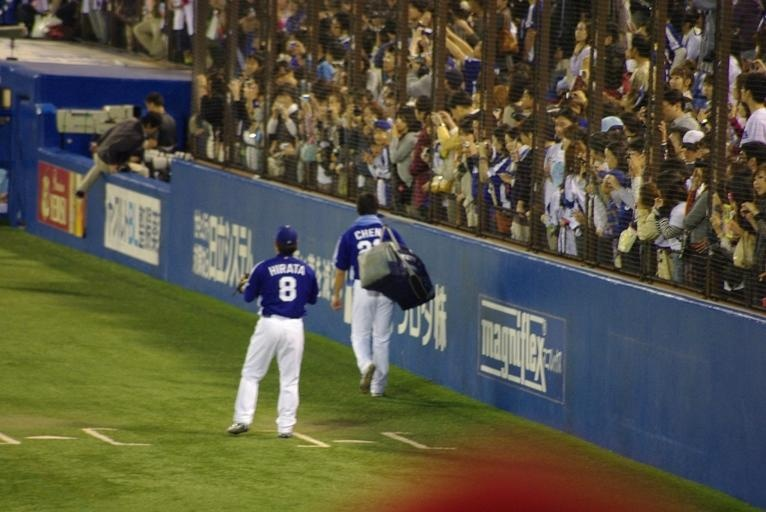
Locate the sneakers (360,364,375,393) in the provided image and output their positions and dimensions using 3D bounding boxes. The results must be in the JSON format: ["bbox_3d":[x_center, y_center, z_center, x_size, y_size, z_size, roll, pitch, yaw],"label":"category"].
[{"bbox_3d":[-0.198,1.429,16.640,0.136,0.370,0.169,14,13,-9],"label":"sneakers"}]

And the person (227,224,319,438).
[{"bbox_3d":[-1.209,0.847,15.445,0.830,2.328,0.345,7,5,-6],"label":"person"}]

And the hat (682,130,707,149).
[{"bbox_3d":[3.206,-1.212,14.500,0.123,0.099,0.181,-2,-2,-22],"label":"hat"}]

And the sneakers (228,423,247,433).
[{"bbox_3d":[-1.622,1.888,15.533,0.185,0.097,0.106,0,-2,21],"label":"sneakers"}]
